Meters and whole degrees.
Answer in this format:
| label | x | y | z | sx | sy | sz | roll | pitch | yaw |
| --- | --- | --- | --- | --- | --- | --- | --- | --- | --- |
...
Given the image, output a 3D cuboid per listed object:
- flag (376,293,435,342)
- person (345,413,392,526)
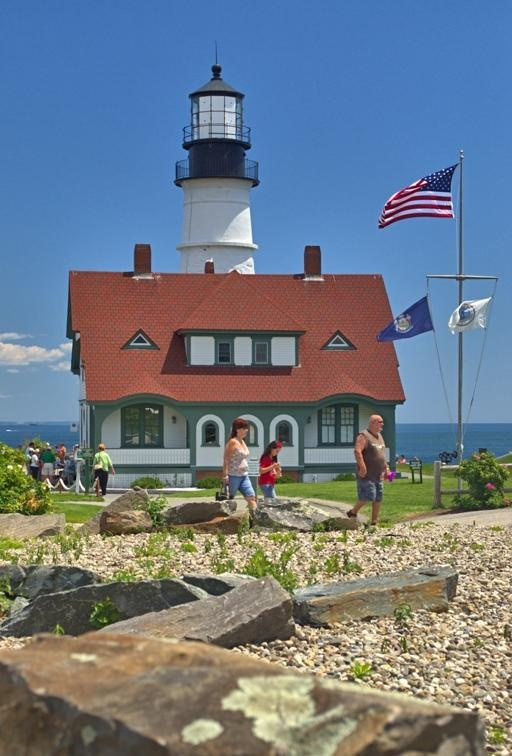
| label | x | y | z | sx | sy | sz | roll | pitch | yaw |
| --- | --- | --- | --- | --- | --- | --- | --- | --- | --- |
| flag | 4.283 | -1.644 | 28.143 | 0.233 | 1.751 | 2.270 | 0 | -4 | -38 |
| person | 1.587 | 1.314 | 13.815 | 0.528 | 1.572 | 1.100 | -1 | -5 | 7 |
